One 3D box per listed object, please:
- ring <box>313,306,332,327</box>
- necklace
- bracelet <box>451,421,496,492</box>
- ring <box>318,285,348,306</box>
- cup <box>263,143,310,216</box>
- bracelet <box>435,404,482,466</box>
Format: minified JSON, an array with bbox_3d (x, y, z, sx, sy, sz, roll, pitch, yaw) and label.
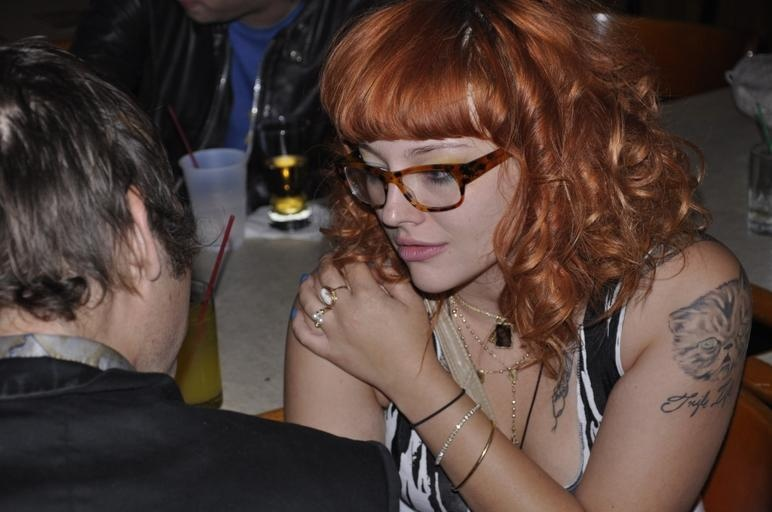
[{"bbox_3d":[-0.155,0.152,1.808,0.038,0.018,0.050,31,91,20],"label":"ring"},{"bbox_3d":[0.262,0.272,1.834,0.208,0.080,0.391,-9,76,-23],"label":"necklace"},{"bbox_3d":[0.207,0.464,1.675,0.030,0.117,0.125,25,97,2],"label":"bracelet"},{"bbox_3d":[-0.135,0.098,1.811,0.039,0.026,0.064,37,64,25],"label":"ring"},{"bbox_3d":[-0.336,-0.270,2.622,0.180,0.215,0.193,-1,26,1],"label":"cup"},{"bbox_3d":[0.154,0.404,1.706,0.027,0.109,0.117,36,54,10],"label":"bracelet"}]
